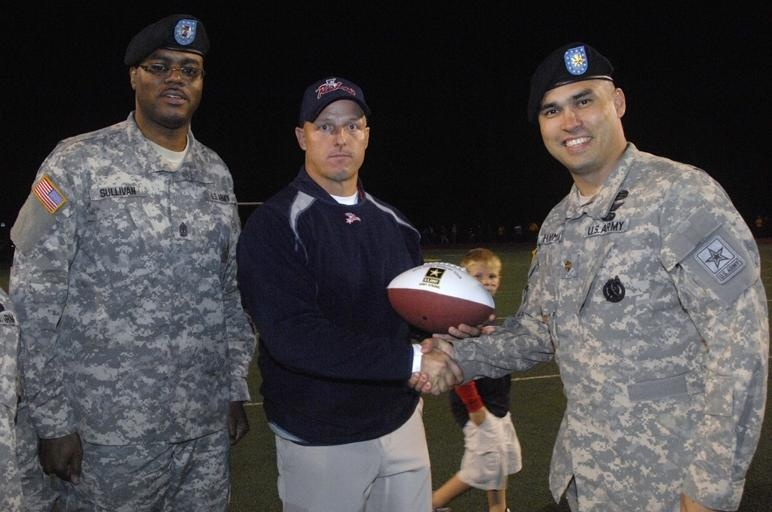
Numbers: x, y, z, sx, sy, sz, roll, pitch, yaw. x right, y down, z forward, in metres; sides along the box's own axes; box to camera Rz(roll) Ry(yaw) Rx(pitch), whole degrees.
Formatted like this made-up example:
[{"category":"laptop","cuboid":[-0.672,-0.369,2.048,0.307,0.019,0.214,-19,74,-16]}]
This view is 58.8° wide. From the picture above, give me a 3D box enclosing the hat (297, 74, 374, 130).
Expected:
[{"category":"hat","cuboid":[-0.323,-0.980,4.295,0.418,0.291,0.655,4,16,-1]}]
